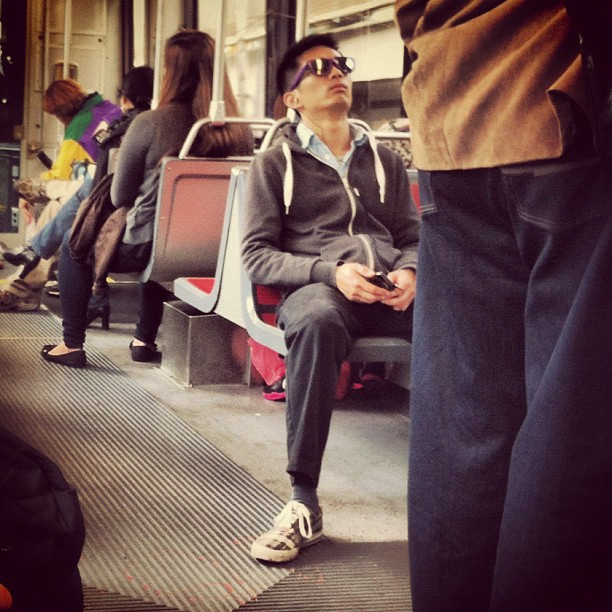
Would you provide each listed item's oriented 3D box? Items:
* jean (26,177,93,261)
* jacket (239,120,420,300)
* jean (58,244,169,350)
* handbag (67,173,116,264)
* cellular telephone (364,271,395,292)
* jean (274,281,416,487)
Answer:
[{"bbox_3d":[-1.592,-0.568,4.303,0.416,0.525,0.204,11,11,36],"label":"jean"},{"bbox_3d":[0.110,-0.383,2.471,0.743,0.624,0.533,-6,6,-20],"label":"jacket"},{"bbox_3d":[-1.050,-0.039,3.721,0.618,0.584,0.427,0,10,-30],"label":"jean"},{"bbox_3d":[-1.118,-0.539,3.623,0.238,0.616,0.146,-14,-34,4],"label":"handbag"},{"bbox_3d":[0.228,-0.077,2.102,0.094,0.023,0.047,19,4,-10],"label":"cellular telephone"},{"bbox_3d":[0.126,0.214,2.048,0.466,0.547,0.595,4,9,-2],"label":"jean"}]
